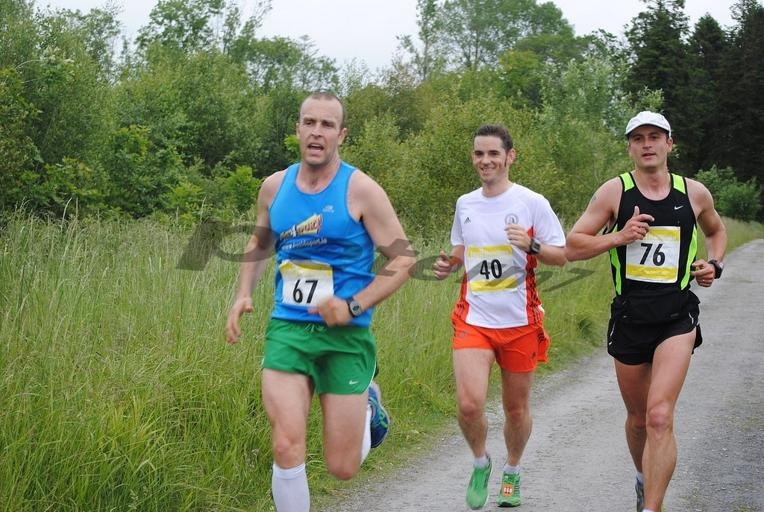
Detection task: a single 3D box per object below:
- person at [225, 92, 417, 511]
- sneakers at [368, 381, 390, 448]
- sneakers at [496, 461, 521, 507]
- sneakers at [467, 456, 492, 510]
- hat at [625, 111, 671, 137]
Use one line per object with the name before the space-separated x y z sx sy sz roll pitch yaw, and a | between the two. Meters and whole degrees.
person | -0.448 0.277 4.787 1.258 2.813 0.760 -1 6 7
sneakers | -0.039 1.205 5.388 0.163 0.519 0.226 -1 -27 15
sneakers | 1.076 1.932 5.887 0.191 0.299 0.319 0 6 11
sneakers | 0.820 1.939 5.825 0.142 0.447 0.175 2 -26 27
hat | 2.149 -1.081 5.598 0.227 0.129 0.322 -9 -1 23
